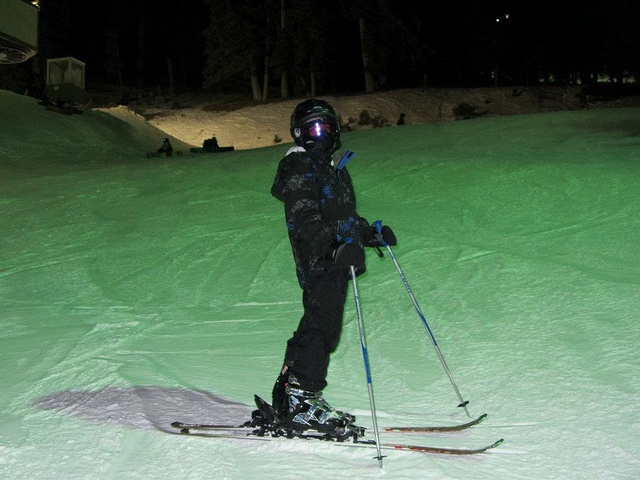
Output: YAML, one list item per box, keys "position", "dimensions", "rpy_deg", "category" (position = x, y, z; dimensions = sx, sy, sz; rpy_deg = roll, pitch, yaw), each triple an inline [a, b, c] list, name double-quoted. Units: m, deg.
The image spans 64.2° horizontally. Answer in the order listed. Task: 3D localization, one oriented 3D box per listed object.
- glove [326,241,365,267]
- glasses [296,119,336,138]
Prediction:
- position: [0.193, 0.094, 2.961]
  dimensions: [0.138, 0.169, 0.206]
  rpy_deg: [7, 12, 39]
  category: "glove"
- position: [-0.030, -0.723, 3.300]
  dimensions: [0.178, 0.081, 0.187]
  rpy_deg: [-13, 2, -24]
  category: "glasses"
